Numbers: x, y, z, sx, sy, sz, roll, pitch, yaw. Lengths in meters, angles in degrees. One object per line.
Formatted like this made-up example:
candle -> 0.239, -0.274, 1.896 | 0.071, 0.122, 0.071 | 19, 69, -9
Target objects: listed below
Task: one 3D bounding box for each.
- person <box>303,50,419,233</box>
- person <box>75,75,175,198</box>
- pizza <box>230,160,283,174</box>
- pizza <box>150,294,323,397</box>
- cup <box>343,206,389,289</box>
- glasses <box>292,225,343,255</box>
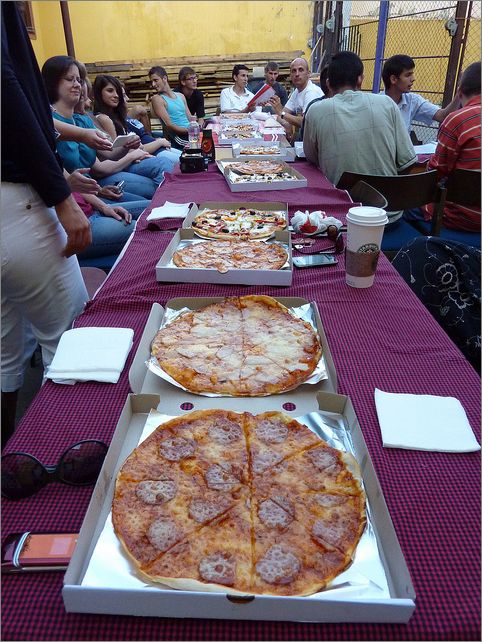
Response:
person -> 0.835, -1.220, 3.090 | 0.728, 1.177, 0.666 | -2, 13, 18
person -> -1.247, -1.992, 4.378 | 0.518, 0.932, 0.403 | -7, 6, -17
pizza -> 0.108, -1.041, 2.897 | 0.258, 0.045, 0.221 | 1, 35, 1
pizza -> -0.015, 0.060, 0.987 | 0.227, 0.028, 0.248 | 4, 34, 5
cup -> 0.366, -0.214, 1.301 | 0.108, 0.255, 0.076 | 8, 39, 14
glasses -> 0.299, -0.320, 1.691 | 0.191, 0.080, 0.217 | 2, 40, 6
